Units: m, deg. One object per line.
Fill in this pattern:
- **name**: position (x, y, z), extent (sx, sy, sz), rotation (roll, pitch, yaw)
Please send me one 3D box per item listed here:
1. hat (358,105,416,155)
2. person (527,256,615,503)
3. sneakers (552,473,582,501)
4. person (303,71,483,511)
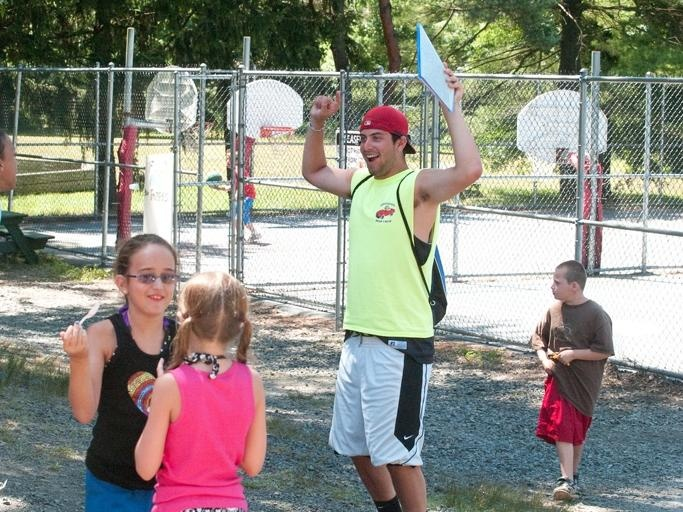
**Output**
- **hat**: position (0.311, -0.866, 6.488), extent (0.351, 0.245, 0.278), rotation (13, 10, -10)
- **person**: position (1.832, 0.948, 7.455), extent (0.631, 1.705, 0.805), rotation (3, 11, 12)
- **sneakers**: position (1.766, 1.822, 7.282), extent (0.112, 0.146, 0.330), rotation (-5, -20, 21)
- **person**: position (0.262, 0.214, 6.404), extent (0.746, 2.974, 1.239), rotation (-8, 14, -40)
